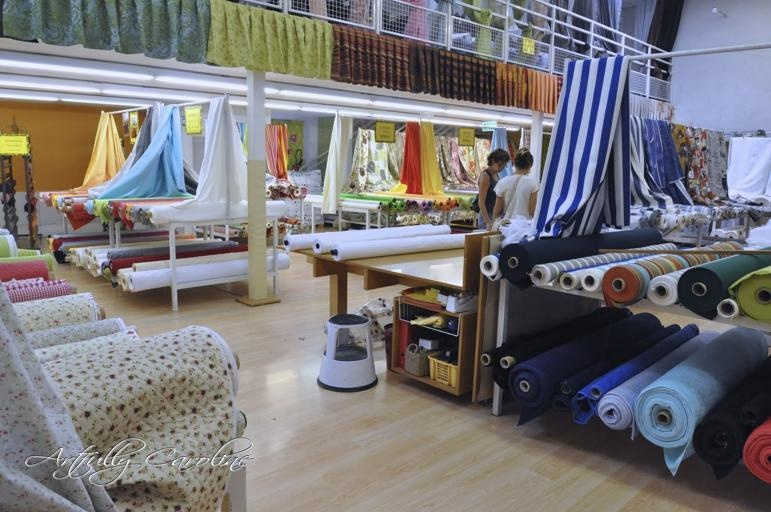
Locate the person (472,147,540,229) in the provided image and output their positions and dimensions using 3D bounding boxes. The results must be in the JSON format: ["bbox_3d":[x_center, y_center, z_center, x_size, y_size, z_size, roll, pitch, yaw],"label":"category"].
[{"bbox_3d":[1.421,-0.728,5.791,0.532,1.003,1.165,2,14,4],"label":"person"}]

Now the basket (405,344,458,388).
[{"bbox_3d":[0.403,0.849,3.991,0.516,0.245,0.194,12,18,37],"label":"basket"}]

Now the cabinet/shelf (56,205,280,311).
[{"bbox_3d":[-2.286,0.089,6.187,1.607,1.030,1.326,-3,6,-34],"label":"cabinet/shelf"}]

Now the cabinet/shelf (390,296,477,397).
[{"bbox_3d":[0.402,0.700,3.952,0.315,0.631,0.643,-7,15,-40],"label":"cabinet/shelf"}]

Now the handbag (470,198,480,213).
[{"bbox_3d":[1.408,-0.794,7.786,0.099,0.301,0.214,12,16,24],"label":"handbag"}]
